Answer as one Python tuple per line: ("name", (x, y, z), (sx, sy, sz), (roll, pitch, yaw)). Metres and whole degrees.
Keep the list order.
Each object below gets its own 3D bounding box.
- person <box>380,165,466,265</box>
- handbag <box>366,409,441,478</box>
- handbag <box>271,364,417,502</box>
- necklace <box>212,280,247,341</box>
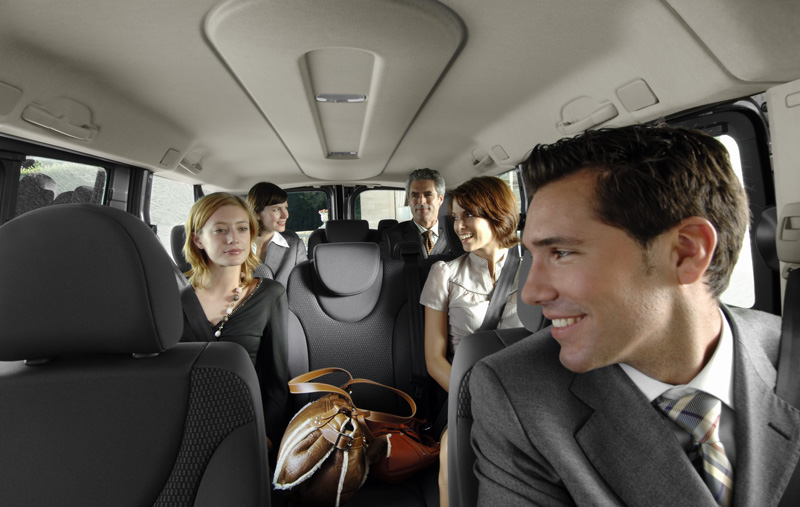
("person", (0.265, -0.347, 5.208), (0.960, 0.950, 0.513), (1, 3, 14))
("handbag", (0.018, 0.890, 2.653), (0.391, 0.339, 0.156), (2, 18, 36))
("handbag", (-0.254, 0.907, 2.651), (0.674, 0.609, 0.536), (17, -12, -16))
("necklace", (-0.998, 0.330, 3.093), (0.095, 0.387, 0.076), (25, -33, -5))
